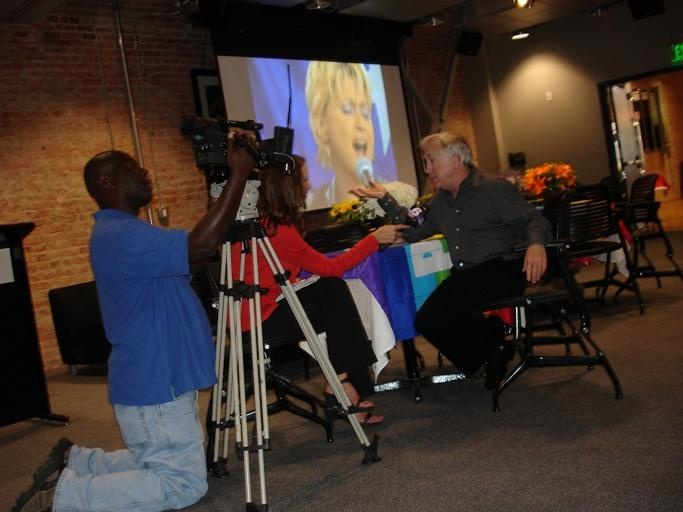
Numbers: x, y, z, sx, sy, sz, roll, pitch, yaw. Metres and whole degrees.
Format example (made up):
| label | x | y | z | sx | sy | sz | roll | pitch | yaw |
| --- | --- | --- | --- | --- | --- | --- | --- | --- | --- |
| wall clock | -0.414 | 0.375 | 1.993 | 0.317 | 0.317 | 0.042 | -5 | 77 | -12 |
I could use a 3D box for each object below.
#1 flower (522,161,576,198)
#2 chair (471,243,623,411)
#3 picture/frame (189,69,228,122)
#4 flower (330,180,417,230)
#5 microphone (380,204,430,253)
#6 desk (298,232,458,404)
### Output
| label | x | y | z | sx | sy | sz | roll | pitch | yaw |
| --- | --- | --- | --- | --- | --- | --- | --- | --- | --- |
| flower | 1.666 | -0.617 | 4.255 | 0.341 | 0.225 | 0.329 | -8 | 11 | 4 |
| chair | 1.442 | 0.438 | 3.539 | 1.051 | 1.328 | 0.990 | -1 | -3 | 3 |
| picture/frame | -1.758 | -2.153 | 6.755 | 0.425 | 0.593 | 0.196 | -13 | 5 | -32 |
| flower | 0.214 | -0.420 | 3.738 | 0.348 | 0.165 | 0.459 | -7 | 12 | 35 |
| microphone | 0.420 | -0.184 | 3.295 | 0.372 | 0.230 | 0.099 | -39 | 43 | -11 |
| desk | 0.167 | 0.382 | 3.650 | 1.033 | 0.939 | 1.032 | -2 | 1 | 38 |
